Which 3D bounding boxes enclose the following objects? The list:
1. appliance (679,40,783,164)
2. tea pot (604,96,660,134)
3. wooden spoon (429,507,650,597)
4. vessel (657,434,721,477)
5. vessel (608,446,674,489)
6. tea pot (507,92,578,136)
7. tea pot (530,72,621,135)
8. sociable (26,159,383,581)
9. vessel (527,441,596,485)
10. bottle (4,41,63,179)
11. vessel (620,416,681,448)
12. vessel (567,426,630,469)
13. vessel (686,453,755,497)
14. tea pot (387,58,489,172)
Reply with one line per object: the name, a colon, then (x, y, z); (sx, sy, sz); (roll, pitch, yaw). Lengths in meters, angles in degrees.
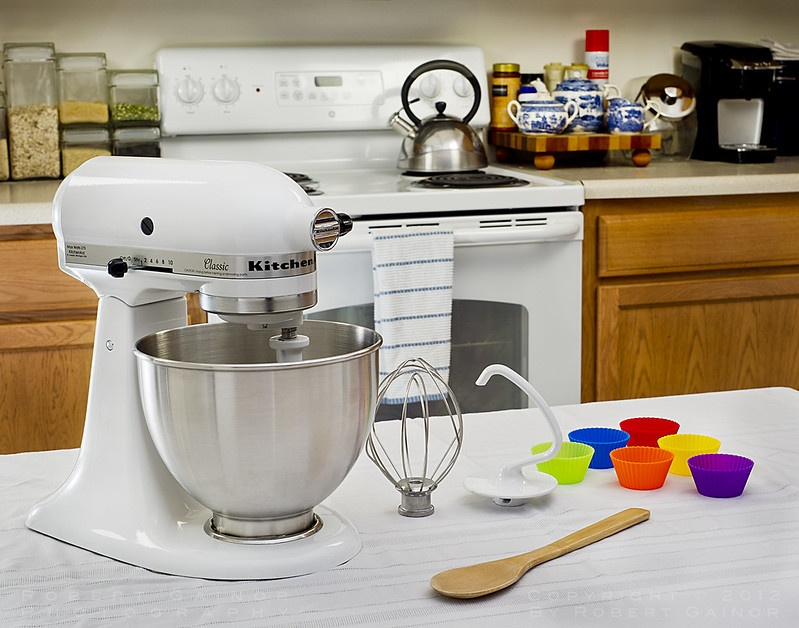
appliance: (1.061, -0.673, 2.413); (0.271, 0.309, 0.362); (-5, 17, -10)
tea pot: (0.665, -0.597, 2.237); (0.239, 0.112, 0.120); (2, 12, 7)
wooden spoon: (0.149, 0.207, 0.684); (0.287, 0.018, 0.056); (-7, 14, -36)
vessel: (0.321, 0.153, 0.835); (0.058, 0.022, 0.056); (9, 14, 36)
vessel: (0.253, 0.159, 0.776); (0.059, 0.020, 0.050); (0, 2, -2)
tea pot: (0.420, -0.588, 2.185); (0.208, 0.089, 0.128); (0, 23, 7)
tea pot: (0.546, -0.647, 2.258); (0.264, 0.161, 0.162); (8, 28, 27)
sociable: (-0.182, 0.037, 0.782); (0.476, 0.374, 0.284); (6, 10, 41)
vessel: (0.180, 0.161, 0.798); (0.062, 0.022, 0.052); (0, 3, 3)
bottle: (-1.066, -0.588, 2.160); (0.178, 0.385, 0.080); (-8, 16, -17)
vessel: (0.300, 0.140, 0.893); (0.048, 0.016, 0.041); (-1, 5, -16)
vessel: (0.234, 0.151, 0.867); (0.056, 0.020, 0.048); (-5, 13, -19)
vessel: (0.335, 0.158, 0.758); (0.058, 0.020, 0.049); (-1, 2, 0)
tea pot: (0.121, -0.579, 2.150); (0.352, 0.273, 0.230); (-3, 34, 10)
